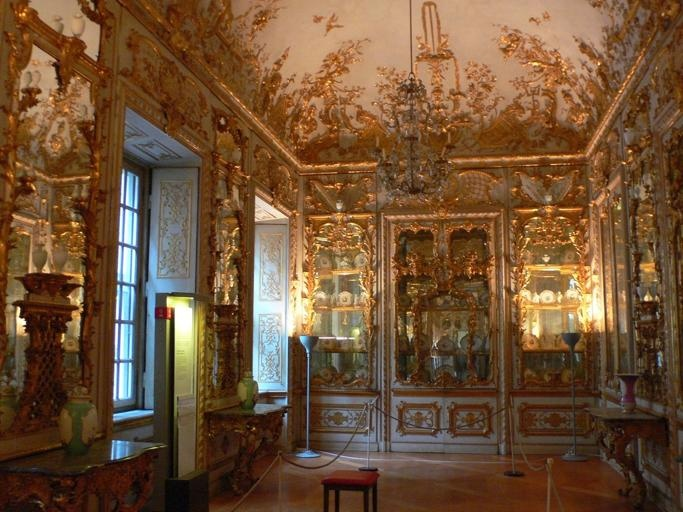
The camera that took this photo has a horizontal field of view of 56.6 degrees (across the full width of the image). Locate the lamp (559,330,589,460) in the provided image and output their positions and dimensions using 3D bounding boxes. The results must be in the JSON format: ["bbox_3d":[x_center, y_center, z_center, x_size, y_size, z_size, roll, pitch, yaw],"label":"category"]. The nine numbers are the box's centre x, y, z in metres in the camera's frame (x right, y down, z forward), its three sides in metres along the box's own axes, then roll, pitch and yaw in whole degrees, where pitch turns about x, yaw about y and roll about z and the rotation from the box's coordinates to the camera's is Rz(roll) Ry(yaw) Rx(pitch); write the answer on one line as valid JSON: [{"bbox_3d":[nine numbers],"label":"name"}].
[{"bbox_3d":[4.154,2.485,11.448,0.407,2.203,0.931,-2,-6,20],"label":"lamp"}]

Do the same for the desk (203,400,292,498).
[{"bbox_3d":[-1.337,2.756,9.059,0.806,1.198,1.197,-1,-6,11],"label":"desk"}]

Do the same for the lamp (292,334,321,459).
[{"bbox_3d":[-0.620,2.570,11.839,0.431,2.169,1.072,0,-6,-4],"label":"lamp"}]

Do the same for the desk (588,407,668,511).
[{"bbox_3d":[3.944,2.609,8.925,1.035,1.379,1.448,-1,-8,13],"label":"desk"}]
